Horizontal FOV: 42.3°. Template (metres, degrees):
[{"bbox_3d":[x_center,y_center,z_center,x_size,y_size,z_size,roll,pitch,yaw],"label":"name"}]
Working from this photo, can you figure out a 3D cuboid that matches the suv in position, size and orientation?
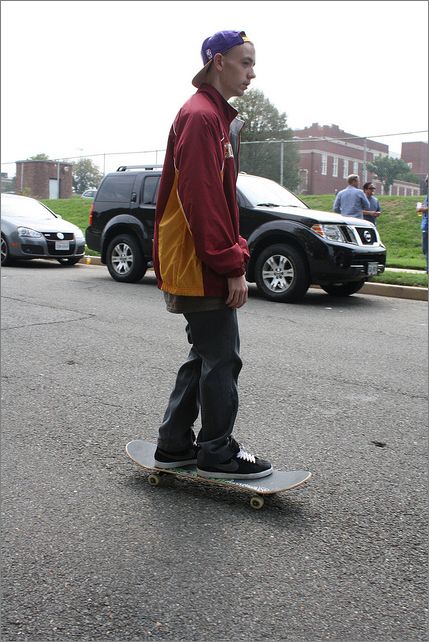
[{"bbox_3d":[0.299,-1.293,9.906,5.166,2.168,2.406,6,7,29],"label":"suv"}]

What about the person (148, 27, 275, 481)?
[{"bbox_3d":[-0.009,-0.243,2.217,0.425,1.823,0.429,-2,8,-25],"label":"person"}]

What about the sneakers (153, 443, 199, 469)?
[{"bbox_3d":[-0.161,0.607,2.455,0.211,0.086,0.077,-1,3,-2],"label":"sneakers"}]

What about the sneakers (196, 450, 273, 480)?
[{"bbox_3d":[0.087,0.610,2.352,0.325,0.134,0.119,-1,0,-3],"label":"sneakers"}]
